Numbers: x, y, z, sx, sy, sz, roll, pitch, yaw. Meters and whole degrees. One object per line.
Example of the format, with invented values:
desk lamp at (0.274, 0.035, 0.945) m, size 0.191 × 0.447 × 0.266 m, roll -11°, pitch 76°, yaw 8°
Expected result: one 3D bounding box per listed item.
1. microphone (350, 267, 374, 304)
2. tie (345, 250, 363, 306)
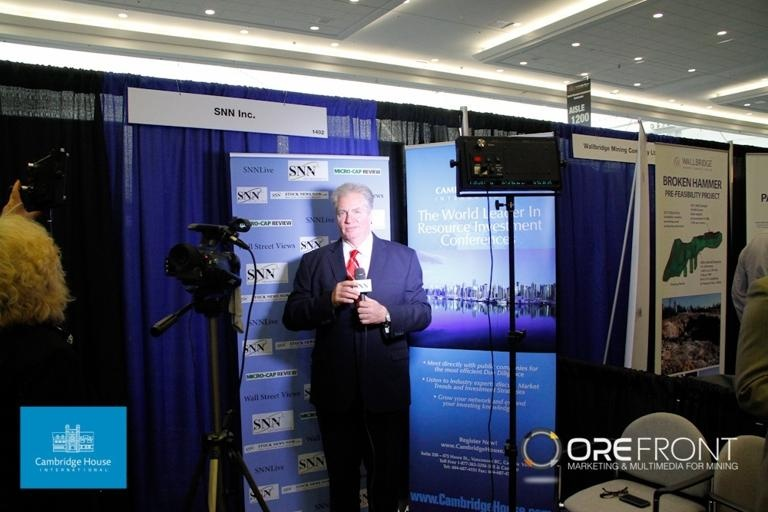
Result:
microphone at (-0.185, 0.226, 5.190) m, size 0.141 × 0.276 × 0.362 m, roll 1°, pitch 3°, yaw -1°
tie at (-0.258, 0.197, 5.225) m, size 0.149 × 0.645 × 0.131 m, roll 7°, pitch -31°, yaw -12°
